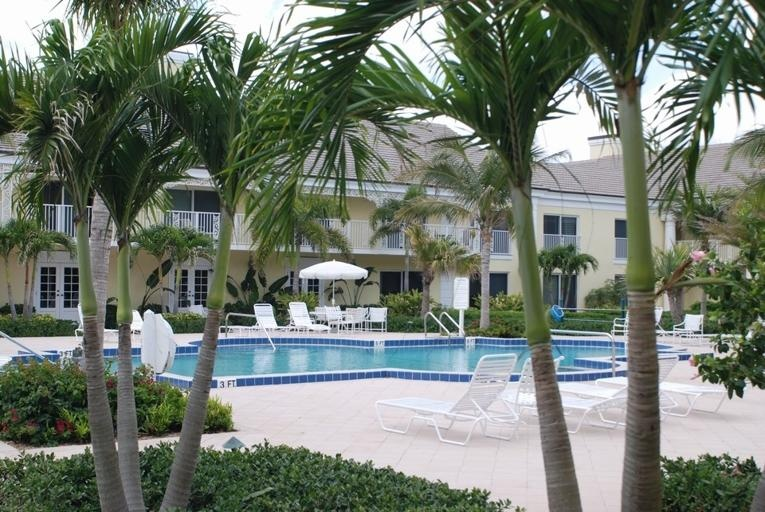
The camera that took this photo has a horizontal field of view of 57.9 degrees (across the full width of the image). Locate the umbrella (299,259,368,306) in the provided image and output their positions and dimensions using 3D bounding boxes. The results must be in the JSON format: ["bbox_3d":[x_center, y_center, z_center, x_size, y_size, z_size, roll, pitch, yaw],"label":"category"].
[{"bbox_3d":[-1.448,0.569,22.998,1.722,1.392,1.837,-1,-7,12],"label":"umbrella"}]
